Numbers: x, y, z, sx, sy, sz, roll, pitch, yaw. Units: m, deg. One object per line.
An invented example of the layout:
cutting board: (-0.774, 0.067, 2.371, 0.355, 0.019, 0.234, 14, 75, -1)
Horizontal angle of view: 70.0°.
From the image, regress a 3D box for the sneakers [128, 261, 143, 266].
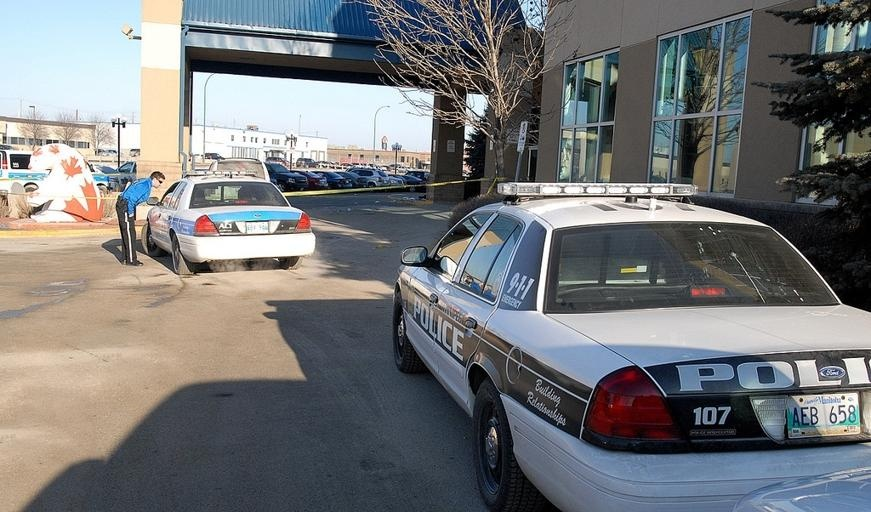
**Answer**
sneakers: (-6.639, 0.171, 13.805, 0.271, 0.098, 0.086, -1, 9, -9)

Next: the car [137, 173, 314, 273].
car: (-4.785, -0.817, 13.738, 1.895, 1.223, 3.520, -3, 12, -28)
